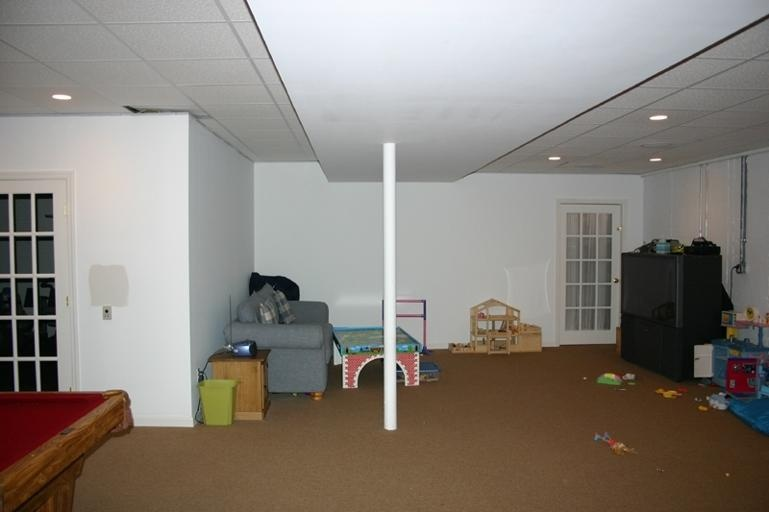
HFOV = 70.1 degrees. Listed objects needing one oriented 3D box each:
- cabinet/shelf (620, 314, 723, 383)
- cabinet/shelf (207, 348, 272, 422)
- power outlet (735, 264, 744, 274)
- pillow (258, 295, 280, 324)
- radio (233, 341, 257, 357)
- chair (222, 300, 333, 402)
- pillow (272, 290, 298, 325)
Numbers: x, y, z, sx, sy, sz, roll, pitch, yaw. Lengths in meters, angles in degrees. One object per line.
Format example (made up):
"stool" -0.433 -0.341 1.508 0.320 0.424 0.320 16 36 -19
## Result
"cabinet/shelf" 3.889 1.003 7.411 0.707 0.793 1.279 1 4 -4
"cabinet/shelf" -1.584 1.416 6.294 0.659 0.740 0.810 -1 2 -2
"power outlet" 4.710 0.163 7.220 0.138 0.129 0.105 4 6 39
"pillow" -1.455 0.684 6.847 0.067 0.214 0.338 -19 10 5
"radio" -1.571 1.042 6.111 0.196 0.114 0.192 1 3 0
"chair" -1.173 1.097 6.686 0.990 0.699 1.169 -1 7 -4
"pillow" -1.244 0.697 7.366 0.117 0.386 0.363 -17 16 7
